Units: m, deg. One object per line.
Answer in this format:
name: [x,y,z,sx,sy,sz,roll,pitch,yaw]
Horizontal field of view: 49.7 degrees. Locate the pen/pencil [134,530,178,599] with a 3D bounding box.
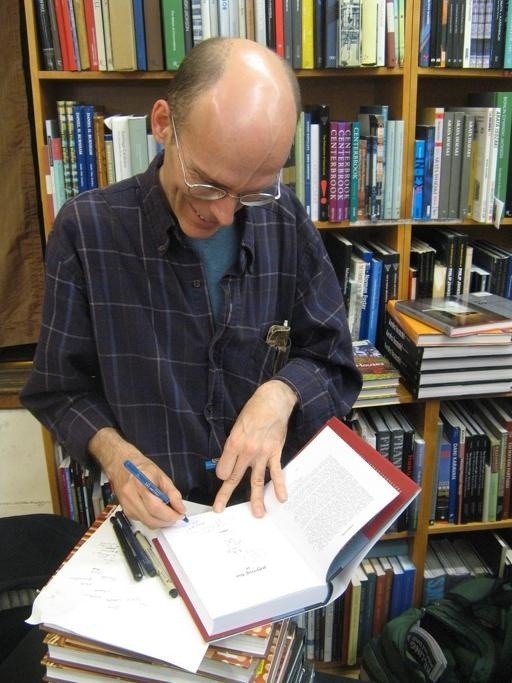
pen/pencil: [-0.127,0.269,0.708,0.026,0.017,0.127,-5,25,-24]

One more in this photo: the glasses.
glasses: [-0.025,-0.255,0.780,0.177,0.121,0.078,-13,19,-30]

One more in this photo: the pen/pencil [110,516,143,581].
pen/pencil: [-0.173,0.270,0.712,0.021,0.024,0.181,-3,22,-20]

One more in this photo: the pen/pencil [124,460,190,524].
pen/pencil: [-0.148,0.217,0.800,0.025,0.017,0.150,-23,51,-31]
